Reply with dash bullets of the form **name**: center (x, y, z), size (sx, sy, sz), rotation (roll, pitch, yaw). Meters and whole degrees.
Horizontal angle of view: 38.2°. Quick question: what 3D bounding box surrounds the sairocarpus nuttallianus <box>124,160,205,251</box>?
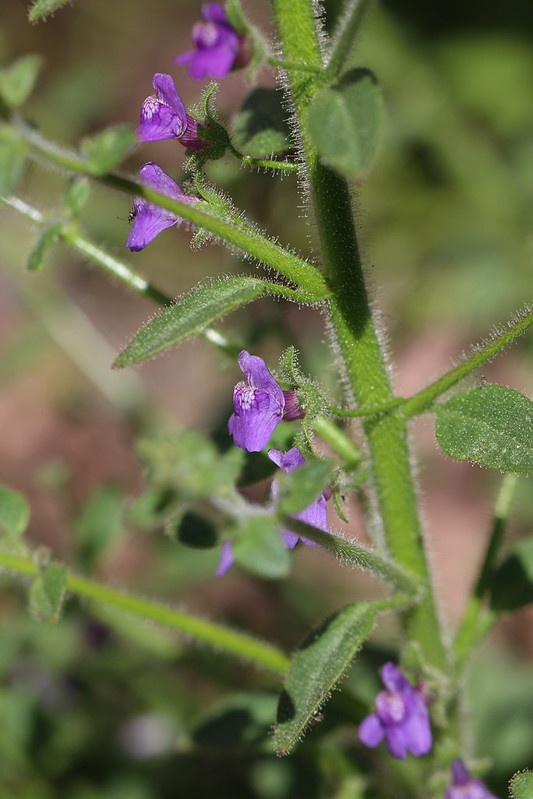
- **sairocarpus nuttallianus**: center (-0.181, -0.292, 1.173), size (0.047, 0.144, 0.147), rotation (28, 13, -45)

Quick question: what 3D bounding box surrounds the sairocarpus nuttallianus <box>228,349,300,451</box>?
- **sairocarpus nuttallianus**: center (-0.006, -0.003, 1.270), size (0.124, 0.187, 0.117), rotation (4, -27, 12)
